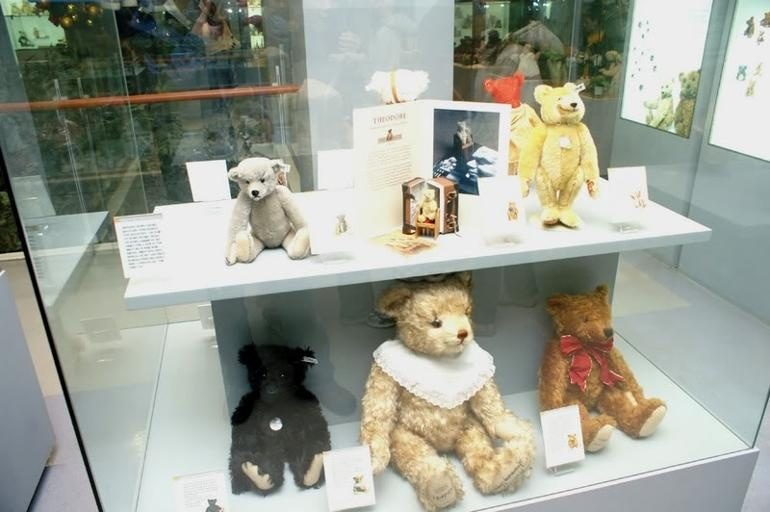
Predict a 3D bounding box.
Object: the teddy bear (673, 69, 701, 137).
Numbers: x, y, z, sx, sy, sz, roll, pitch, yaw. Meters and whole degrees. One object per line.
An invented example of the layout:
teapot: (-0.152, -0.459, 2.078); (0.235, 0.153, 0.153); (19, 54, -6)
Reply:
teddy bear: (1.073, -0.550, 2.071); (0.067, 0.231, 0.026); (8, 26, 25)

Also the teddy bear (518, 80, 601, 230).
teddy bear: (0.641, -0.379, 2.141); (0.302, 0.493, 0.231); (-4, 24, 1)

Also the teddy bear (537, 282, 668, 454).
teddy bear: (0.855, 0.448, 2.365); (0.499, 0.578, 0.330); (-8, 24, -9)

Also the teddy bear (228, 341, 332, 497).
teddy bear: (-0.414, 0.616, 2.206); (0.378, 0.530, 0.319); (-2, -2, -15)

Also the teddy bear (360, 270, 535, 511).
teddy bear: (0.207, 0.531, 2.205); (0.592, 0.749, 0.550); (-13, 28, -24)

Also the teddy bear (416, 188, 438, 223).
teddy bear: (0.152, -0.183, 2.083); (0.076, 0.116, 0.066); (9, 19, 33)
